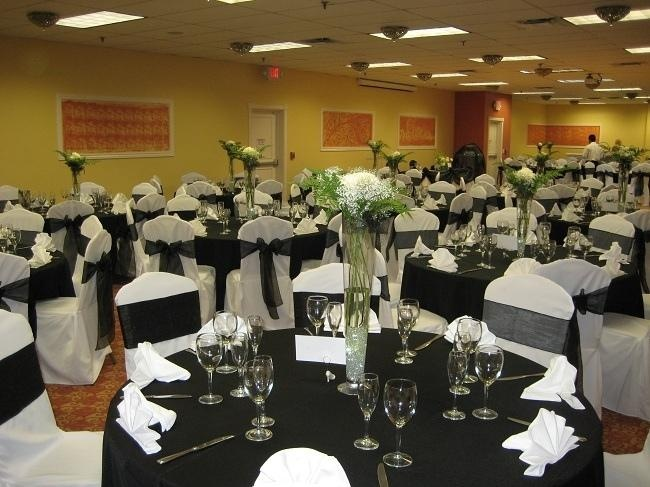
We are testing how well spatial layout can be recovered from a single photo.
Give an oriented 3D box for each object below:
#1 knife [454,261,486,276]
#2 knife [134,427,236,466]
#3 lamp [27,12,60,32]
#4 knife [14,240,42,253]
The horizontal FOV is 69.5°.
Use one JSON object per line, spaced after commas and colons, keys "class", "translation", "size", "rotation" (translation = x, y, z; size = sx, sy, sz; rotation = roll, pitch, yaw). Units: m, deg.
{"class": "knife", "translation": [1.179, 0.199, 3.809], "size": [0.515, 0.063, 0.050], "rotation": [-7, 20, -45]}
{"class": "knife", "translation": [-0.500, 0.721, 1.648], "size": [0.316, 0.014, 0.045], "rotation": [-11, 27, -31]}
{"class": "lamp", "translation": [-3.935, -3.160, 6.512], "size": [0.378, 0.165, 0.371], "rotation": [-8, 16, -31]}
{"class": "knife", "translation": [-2.840, 0.018, 4.448], "size": [0.107, 0.085, 0.106], "rotation": [4, 3, 9]}
